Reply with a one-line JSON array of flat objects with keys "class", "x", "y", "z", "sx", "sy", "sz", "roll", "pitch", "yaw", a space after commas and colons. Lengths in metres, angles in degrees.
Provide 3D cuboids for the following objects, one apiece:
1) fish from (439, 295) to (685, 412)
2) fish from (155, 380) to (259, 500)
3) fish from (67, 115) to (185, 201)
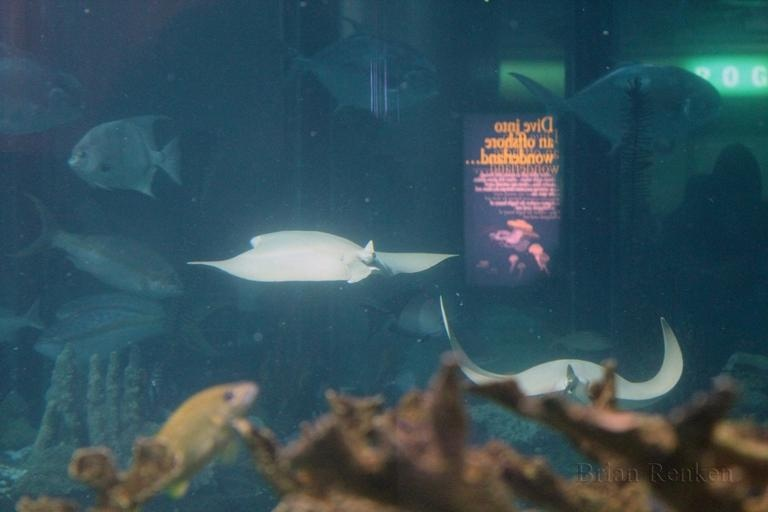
[{"class": "fish", "x": 0.815, "y": 0.439, "z": 3.831, "sx": 1.171, "sy": 0.550, "sz": 0.887, "roll": -3, "pitch": -2, "yaw": 10}, {"class": "fish", "x": -0.765, "y": 0.757, "z": 3.608, "sx": 0.403, "sy": 0.417, "sz": 0.196, "roll": -1, "pitch": -2, "yaw": -35}, {"class": "fish", "x": -1.299, "y": -0.486, "z": 4.199, "sx": 0.445, "sy": 0.308, "sz": 0.070, "roll": -2, "pitch": 1, "yaw": -4}]
